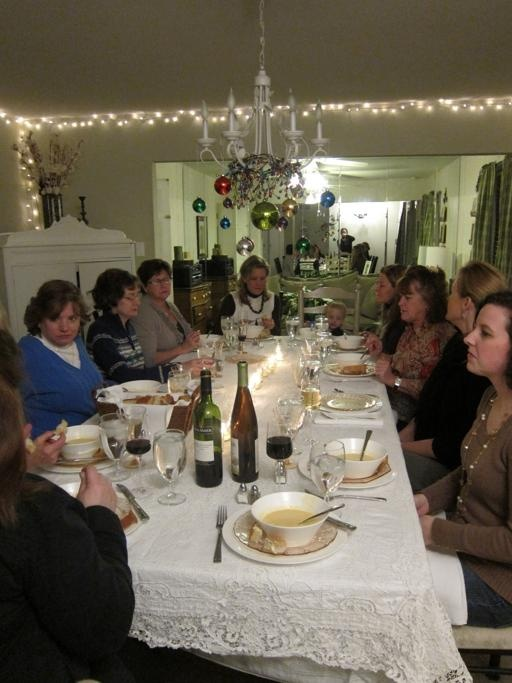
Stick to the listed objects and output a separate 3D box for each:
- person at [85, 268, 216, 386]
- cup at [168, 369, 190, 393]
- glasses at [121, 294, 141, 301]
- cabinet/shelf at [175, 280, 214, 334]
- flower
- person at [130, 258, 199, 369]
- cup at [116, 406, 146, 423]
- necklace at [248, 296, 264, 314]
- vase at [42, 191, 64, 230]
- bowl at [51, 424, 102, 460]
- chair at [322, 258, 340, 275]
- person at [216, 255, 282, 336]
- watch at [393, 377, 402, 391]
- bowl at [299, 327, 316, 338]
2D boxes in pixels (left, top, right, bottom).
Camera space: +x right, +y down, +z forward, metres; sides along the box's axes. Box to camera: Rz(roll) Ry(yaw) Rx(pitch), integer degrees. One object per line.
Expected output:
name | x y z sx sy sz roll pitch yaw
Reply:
person | -0.644 -0.039 3.048 0.598 0.757 0.567 8 27 15
cup | -0.288 0.157 1.975 0.074 0.051 0.075 0 -1 0
glasses | -0.727 -0.259 2.998 0.063 0.034 0.048 2 13 17
cabinet/shelf | -0.782 -0.443 6.603 0.333 0.737 0.820 0 16 8
flower | -2.344 -2.023 6.121 0.778 0.819 0.755 6 6 11
person | -0.608 -0.208 3.607 0.445 0.683 0.751 0 14 8
cup | -0.336 0.194 1.399 0.060 0.041 0.040 6 8 38
necklace | 0.007 -0.305 4.341 0.105 0.137 0.073 -6 -13 -18
vase | -2.170 -1.414 5.618 0.196 0.373 0.288 -6 13 -23
bowl | -0.516 0.299 1.531 0.144 0.082 0.138 1 19 0
chair | 0.990 -0.996 6.940 0.213 0.126 0.206 -1 9 7
person | -0.011 -0.243 4.378 0.547 0.890 0.504 4 9 20
watch | 0.682 0.205 2.517 0.036 0.058 0.059 15 18 22
bowl | 0.304 -0.048 3.150 0.078 0.034 0.078 1 8 0
